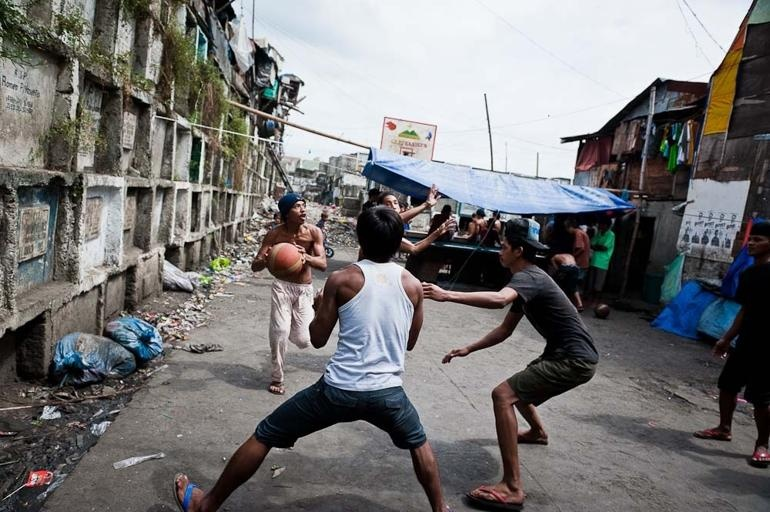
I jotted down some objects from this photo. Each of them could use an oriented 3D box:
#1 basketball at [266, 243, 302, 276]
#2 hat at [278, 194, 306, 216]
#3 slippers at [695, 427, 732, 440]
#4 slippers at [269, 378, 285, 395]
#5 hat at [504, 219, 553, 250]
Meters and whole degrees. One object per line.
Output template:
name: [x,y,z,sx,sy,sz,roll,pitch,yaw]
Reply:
basketball: [-1.088,0.068,5.101,0.403,0.352,0.367,-3,-8,17]
hat: [-1.072,-0.608,5.081,0.253,0.168,0.236,-29,4,-10]
slippers: [3.773,2.078,5.188,0.430,0.115,0.161,1,-5,4]
slippers: [-1.200,1.484,4.987,0.152,0.084,0.274,2,-10,-11]
hat: [1.267,-0.190,3.900,0.396,0.183,0.233,15,2,-5]
